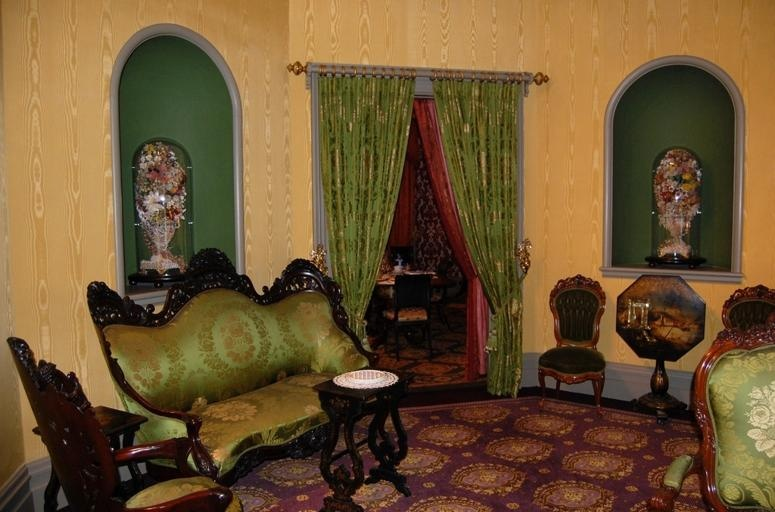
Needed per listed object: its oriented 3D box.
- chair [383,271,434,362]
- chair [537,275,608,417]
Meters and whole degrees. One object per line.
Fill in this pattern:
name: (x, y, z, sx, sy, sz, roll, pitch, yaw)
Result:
chair: (0.260, 0.804, 8.165, 0.673, 1.597, 0.878, -1, 14, -7)
chair: (1.855, 0.891, 6.365, 0.637, 1.288, 0.739, -2, 7, 19)
